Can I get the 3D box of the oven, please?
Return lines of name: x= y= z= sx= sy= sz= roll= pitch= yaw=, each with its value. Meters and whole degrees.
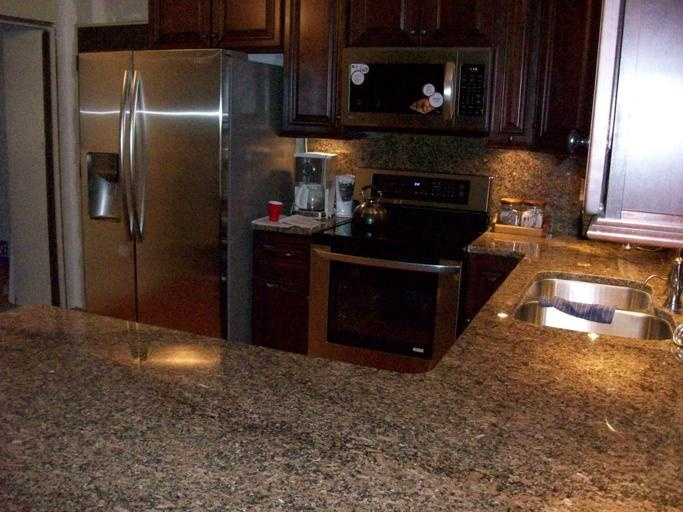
oven: x=0.279 y=0.178 z=3.258 sx=0.735 sy=0.702 sz=0.680 roll=5 pitch=15 yaw=17

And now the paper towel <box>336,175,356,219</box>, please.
paper towel: x=0.025 y=-0.371 z=3.559 sx=0.148 sy=0.254 sz=0.143 roll=2 pitch=6 yaw=-4

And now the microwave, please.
microwave: x=0.393 y=-0.910 z=3.078 sx=0.824 sy=0.418 sz=0.169 roll=9 pitch=16 yaw=26

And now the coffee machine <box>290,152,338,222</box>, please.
coffee machine: x=-0.180 y=-0.446 z=3.553 sx=0.238 sy=0.435 sz=0.241 roll=9 pitch=19 yaw=25

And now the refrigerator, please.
refrigerator: x=-0.932 y=-0.418 z=3.694 sx=1.000 sy=2.059 sz=0.972 roll=4 pitch=6 yaw=22

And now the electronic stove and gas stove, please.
electronic stove and gas stove: x=0.388 y=-0.130 z=3.141 sx=0.499 sy=0.132 sz=0.445 roll=7 pitch=14 yaw=30

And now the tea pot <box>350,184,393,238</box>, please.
tea pot: x=0.167 y=-0.245 z=3.319 sx=0.274 sy=0.314 sz=0.275 roll=1 pitch=18 yaw=0
